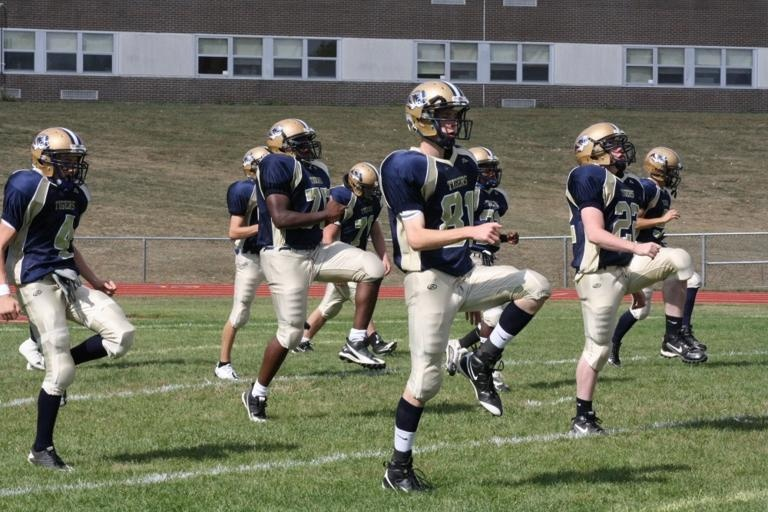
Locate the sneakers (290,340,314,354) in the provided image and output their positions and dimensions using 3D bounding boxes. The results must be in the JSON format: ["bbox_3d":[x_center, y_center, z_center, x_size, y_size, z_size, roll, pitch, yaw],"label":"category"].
[{"bbox_3d":[-1.724,1.883,31.562,0.625,0.232,0.209,4,-2,-16],"label":"sneakers"}]

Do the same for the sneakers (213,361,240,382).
[{"bbox_3d":[-3.147,2.285,29.868,0.622,0.236,0.229,12,13,25],"label":"sneakers"}]

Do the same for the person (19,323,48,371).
[{"bbox_3d":[-6.767,1.781,29.183,0.357,0.884,0.710,-22,6,2],"label":"person"}]
